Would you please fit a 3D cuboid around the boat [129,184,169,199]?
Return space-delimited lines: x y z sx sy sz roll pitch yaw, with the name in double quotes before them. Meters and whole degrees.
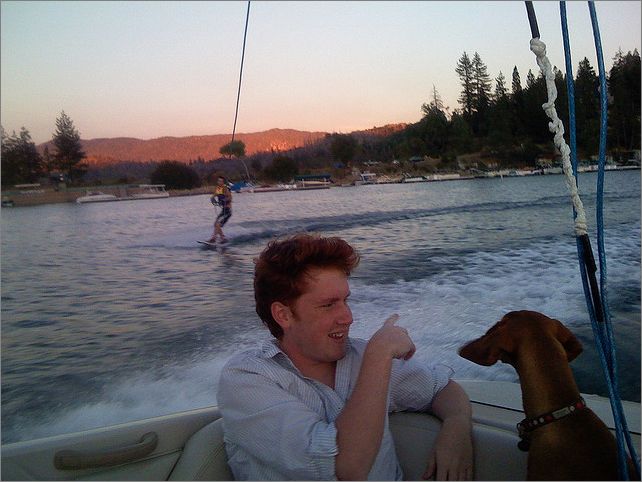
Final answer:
"boat" -30.295 -8.626 66.226 5.142 2.642 23.945 -7 9 -25

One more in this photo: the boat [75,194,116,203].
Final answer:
"boat" -31.490 -5.780 52.833 5.290 1.216 1.385 -8 11 -38
